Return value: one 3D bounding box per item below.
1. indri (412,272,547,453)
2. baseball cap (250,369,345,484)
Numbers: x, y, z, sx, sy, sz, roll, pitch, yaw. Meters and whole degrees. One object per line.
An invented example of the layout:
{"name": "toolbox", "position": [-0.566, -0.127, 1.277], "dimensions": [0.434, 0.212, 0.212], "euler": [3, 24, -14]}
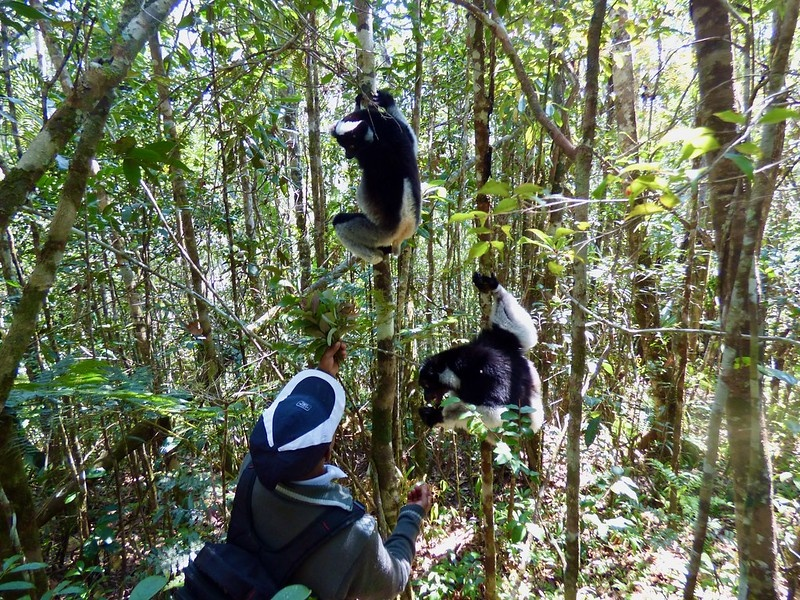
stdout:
{"name": "indri", "position": [0.719, 0.558, 4.448], "dimensions": [1.078, 1.435, 0.761], "euler": [-18, 13, -24]}
{"name": "baseball cap", "position": [-0.567, 0.684, 3.292], "dimensions": [0.465, 0.226, 0.732], "euler": [-18, 5, -5]}
